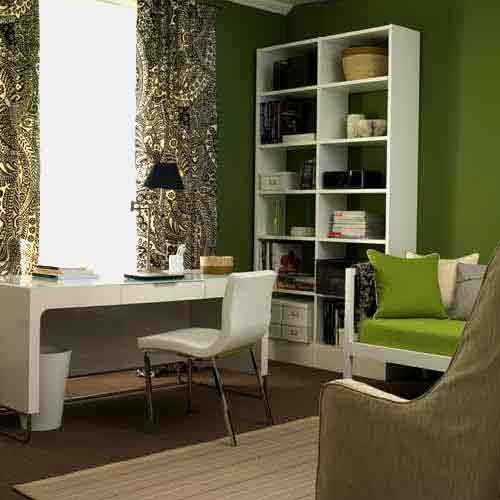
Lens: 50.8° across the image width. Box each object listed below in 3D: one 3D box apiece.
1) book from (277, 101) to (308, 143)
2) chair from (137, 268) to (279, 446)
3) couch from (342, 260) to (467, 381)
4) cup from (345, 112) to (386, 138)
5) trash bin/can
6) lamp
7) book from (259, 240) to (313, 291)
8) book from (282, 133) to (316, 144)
[{"bbox_3d":[0.359,-1.082,4.551,0.231,0.358,0.099,-3,6,-28],"label":"book"},{"bbox_3d":[-0.187,0.516,3.076,0.787,1.235,0.697,2,0,28],"label":"chair"},{"bbox_3d":[0.995,0.350,3.312,0.761,0.832,0.597,-2,-5,39],"label":"couch"},{"bbox_3d":[0.900,-0.948,4.046,0.161,0.195,0.285,-7,11,-41],"label":"cup"},{"bbox_3d":[-1.066,0.728,2.926,0.330,0.490,0.359,4,-3,-36],"label":"trash bin/can"},{"bbox_3d":[-0.602,-0.258,3.468,0.313,0.841,1.055,0,0,-7],"label":"lamp"},{"bbox_3d":[0.284,0.126,4.333,0.353,0.368,0.130,8,-10,-40],"label":"book"},{"bbox_3d":[0.412,-0.915,4.350,0.154,0.040,0.142,1,2,39],"label":"book"}]
